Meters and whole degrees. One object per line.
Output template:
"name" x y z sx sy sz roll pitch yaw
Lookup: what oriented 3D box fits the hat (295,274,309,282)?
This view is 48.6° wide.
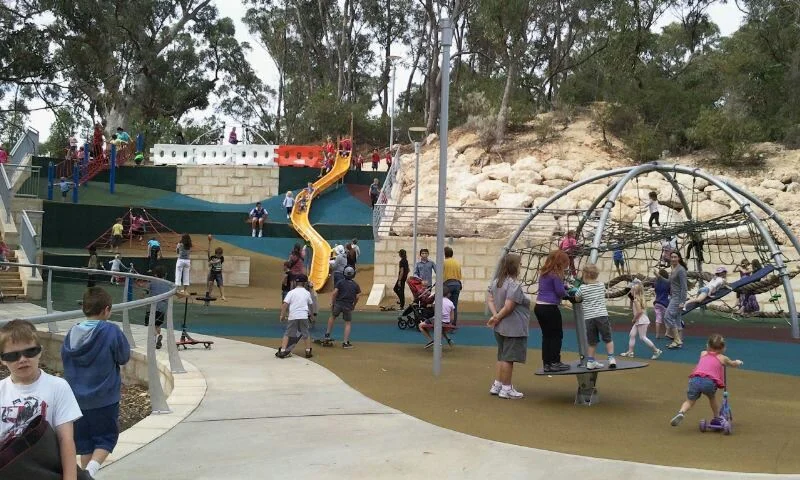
"hat" -3.855 1.513 34.835 0.399 0.232 0.625 2 2 6

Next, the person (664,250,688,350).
"person" 11.337 2.448 36.475 0.920 4.068 0.744 1 1 35

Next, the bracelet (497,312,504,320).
"bracelet" 3.529 2.721 30.970 0.182 0.078 0.179 -11 -33 -44

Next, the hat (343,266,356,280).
"hat" -1.982 1.289 35.226 0.403 0.444 0.507 7 16 2
